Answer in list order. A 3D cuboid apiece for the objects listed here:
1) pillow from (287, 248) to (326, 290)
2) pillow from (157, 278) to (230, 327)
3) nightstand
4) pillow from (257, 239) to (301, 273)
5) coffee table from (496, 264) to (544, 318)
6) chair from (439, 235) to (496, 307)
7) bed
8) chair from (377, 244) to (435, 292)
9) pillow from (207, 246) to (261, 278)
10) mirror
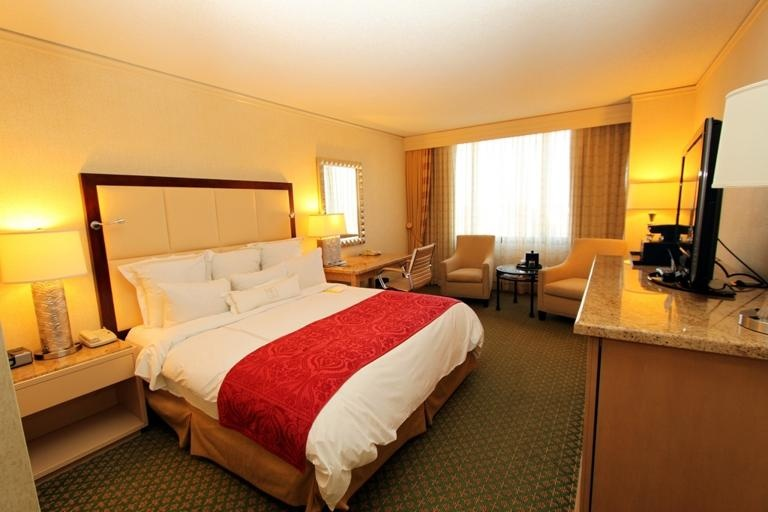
[{"bbox_3d":[-0.885,0.159,5.242,0.150,0.300,0.435,3,15,32],"label":"pillow"},{"bbox_3d":[-1.779,0.438,4.305,0.134,0.256,0.435,-8,-4,44],"label":"pillow"},{"bbox_3d":[-2.460,1.242,3.757,0.649,0.924,1.135,5,11,29],"label":"nightstand"},{"bbox_3d":[-1.180,0.012,5.191,0.103,0.203,0.364,-14,0,41],"label":"pillow"},{"bbox_3d":[1.874,0.470,6.663,0.679,0.542,0.752,1,1,21],"label":"coffee table"},{"bbox_3d":[1.110,0.134,7.211,0.849,1.131,1.045,1,3,23],"label":"chair"},{"bbox_3d":[-0.865,0.434,4.470,2.767,2.610,2.399,2,11,35],"label":"bed"},{"bbox_3d":[0.323,0.182,6.495,0.725,0.979,0.711,2,7,26],"label":"chair"},{"bbox_3d":[-1.563,0.073,4.822,0.306,0.236,0.105,-10,-26,-34],"label":"pillow"},{"bbox_3d":[-0.615,-0.745,6.353,0.110,1.418,1.293,-1,3,26],"label":"mirror"}]
